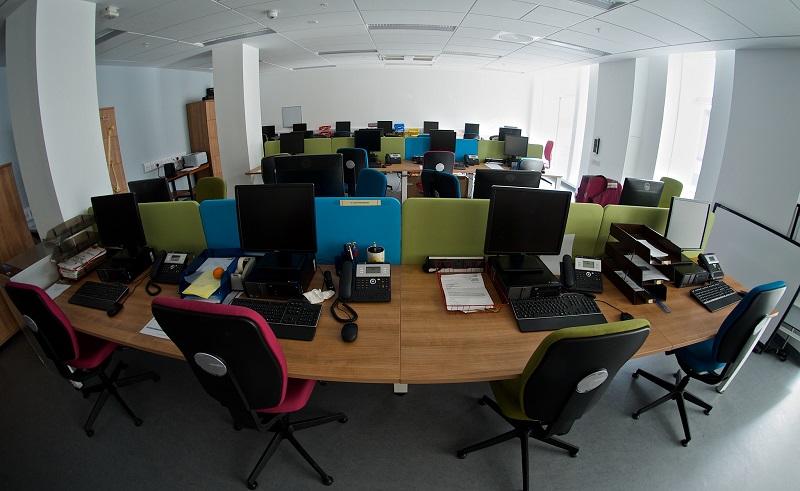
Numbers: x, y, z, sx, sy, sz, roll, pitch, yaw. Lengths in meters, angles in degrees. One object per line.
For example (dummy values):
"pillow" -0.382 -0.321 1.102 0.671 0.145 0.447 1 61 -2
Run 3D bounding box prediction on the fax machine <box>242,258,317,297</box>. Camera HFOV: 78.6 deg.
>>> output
"fax machine" -1.172 0.250 4.813 0.459 0.174 0.454 1 24 4

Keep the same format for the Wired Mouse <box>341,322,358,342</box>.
"Wired Mouse" -0.464 0.791 4.504 0.146 0.141 0.160 -2 19 -6

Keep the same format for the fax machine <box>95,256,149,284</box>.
"fax machine" -2.832 0.239 5.006 0.355 0.149 0.258 -8 18 -33

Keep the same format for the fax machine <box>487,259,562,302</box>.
"fax machine" 1.228 0.308 4.874 0.621 0.342 0.380 -2 19 -6

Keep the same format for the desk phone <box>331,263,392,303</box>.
"desk phone" -0.345 0.354 4.805 0.505 0.351 0.280 -1 19 -3

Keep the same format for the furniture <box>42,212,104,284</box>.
"furniture" -3.449 0.037 5.209 0.333 0.502 0.574 1 27 4

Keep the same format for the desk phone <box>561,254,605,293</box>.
"desk phone" 1.849 0.272 4.972 0.402 0.139 0.378 6 59 -2

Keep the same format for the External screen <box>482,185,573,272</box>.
"External screen" 1.238 -0.237 4.956 0.816 0.723 0.257 2 16 -9

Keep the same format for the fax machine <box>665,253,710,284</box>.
"fax machine" 2.899 0.263 4.980 0.278 0.119 0.365 -3 24 -16

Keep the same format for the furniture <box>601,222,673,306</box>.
"furniture" 2.483 0.223 4.984 0.436 0.567 0.841 -5 31 -13

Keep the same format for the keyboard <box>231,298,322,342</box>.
"keyboard" -1.197 0.655 4.606 0.835 0.484 0.120 5 22 -11

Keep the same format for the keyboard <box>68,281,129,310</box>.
"keyboard" -2.988 0.492 4.870 0.509 0.176 0.304 5 19 15

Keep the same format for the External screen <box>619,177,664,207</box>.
"External screen" 2.999 -0.653 6.083 0.527 0.328 0.259 5 19 6

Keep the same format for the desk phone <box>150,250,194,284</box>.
"desk phone" -2.342 0.218 5.006 0.351 0.340 0.137 5 -18 -1

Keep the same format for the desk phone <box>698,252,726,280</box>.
"desk phone" 3.198 0.232 5.089 0.219 0.282 0.083 -14 -15 -15

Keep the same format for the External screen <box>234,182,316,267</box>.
"External screen" -1.221 -0.209 4.823 0.906 0.699 0.079 1 10 2
